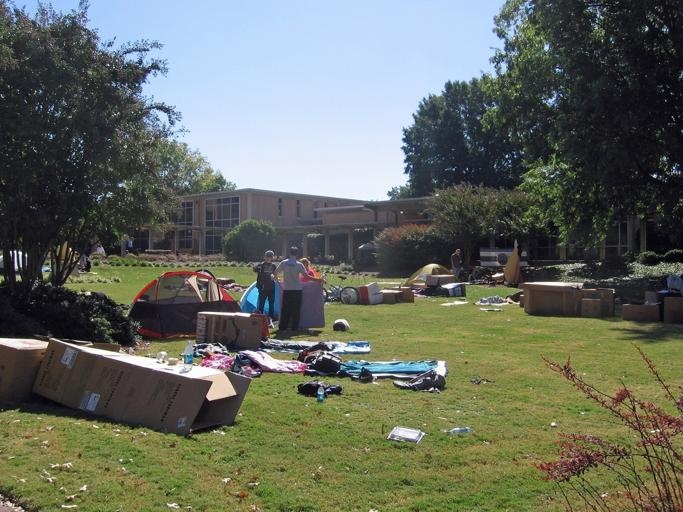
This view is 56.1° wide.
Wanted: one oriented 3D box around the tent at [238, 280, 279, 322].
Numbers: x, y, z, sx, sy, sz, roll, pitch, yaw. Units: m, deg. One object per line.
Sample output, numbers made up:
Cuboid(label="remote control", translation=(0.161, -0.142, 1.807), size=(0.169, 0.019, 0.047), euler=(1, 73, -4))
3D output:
Cuboid(label="tent", translation=(-2.150, 1.140, 16.536), size=(0.926, 0.711, 0.967), euler=(1, 2, 36))

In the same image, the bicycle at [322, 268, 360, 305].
Cuboid(label="bicycle", translation=(-0.190, 1.338, 23.561), size=(1.676, 1.114, 1.131), euler=(2, 3, 28))

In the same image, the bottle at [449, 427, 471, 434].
Cuboid(label="bottle", translation=(1.603, 2.339, 8.600), size=(0.293, 0.027, 0.209), euler=(3, 11, 4))

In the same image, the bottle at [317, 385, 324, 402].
Cuboid(label="bottle", translation=(-0.301, 2.086, 9.682), size=(0.132, 0.246, 0.138), euler=(-1, -1, 0))

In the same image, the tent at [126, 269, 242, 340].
Cuboid(label="tent", translation=(-3.915, 1.133, 15.104), size=(1.850, 1.241, 1.822), euler=(-2, 0, -35))

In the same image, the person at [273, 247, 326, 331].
Cuboid(label="person", translation=(-1.081, 0.788, 15.400), size=(1.027, 2.038, 1.308), euler=(0, 11, -7))
